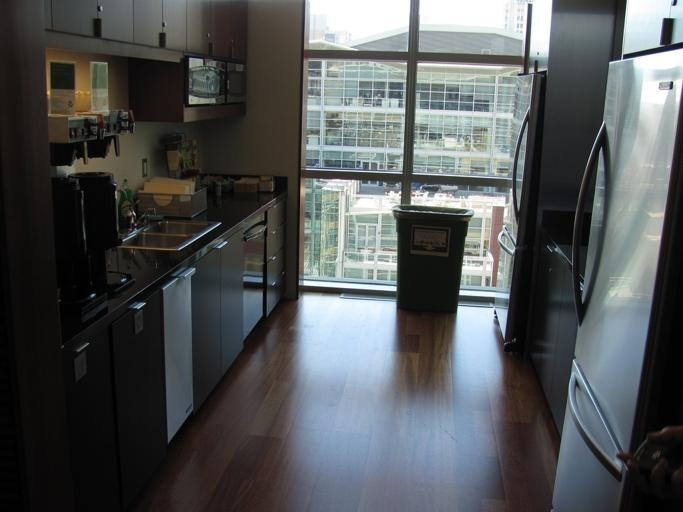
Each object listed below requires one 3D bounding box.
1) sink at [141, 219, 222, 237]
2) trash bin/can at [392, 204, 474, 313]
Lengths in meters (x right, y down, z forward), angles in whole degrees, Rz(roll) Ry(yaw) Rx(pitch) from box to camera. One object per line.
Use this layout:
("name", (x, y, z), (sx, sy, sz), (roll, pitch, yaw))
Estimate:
("sink", (-1.015, -0.179, 3.380), (0.224, 0.102, 0.202), (5, 15, 9))
("trash bin/can", (0.805, -0.090, 4.816), (0.646, 1.067, 0.576), (3, 10, 10))
